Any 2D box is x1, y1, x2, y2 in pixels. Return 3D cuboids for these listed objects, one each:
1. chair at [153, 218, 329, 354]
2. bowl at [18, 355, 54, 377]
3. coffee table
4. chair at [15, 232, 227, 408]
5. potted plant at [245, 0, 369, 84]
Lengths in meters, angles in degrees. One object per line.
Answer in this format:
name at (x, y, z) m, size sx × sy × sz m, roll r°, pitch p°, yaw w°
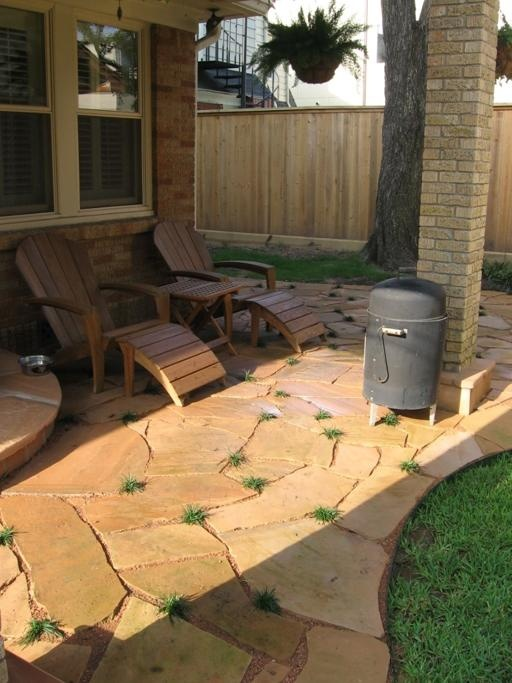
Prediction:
chair at (-0.009, -0.647, 5.936) m, size 2.103 × 1.333 × 1.146 m, roll 18°, pitch 24°, yaw 27°
bowl at (-1.640, 0.180, 4.069) m, size 0.220 × 0.106 × 0.298 m, roll -10°, pitch 19°, yaw -33°
coffee table at (-0.559, -0.197, 5.274) m, size 0.640 × 0.649 × 0.517 m, roll 14°, pitch 23°, yaw 35°
chair at (-1.117, -0.204, 4.388) m, size 1.656 × 1.232 × 0.862 m, roll 11°, pitch 20°, yaw 32°
potted plant at (0.781, -4.751, 8.631) m, size 1.572 × 1.173 × 0.935 m, roll 15°, pitch 22°, yaw 41°
